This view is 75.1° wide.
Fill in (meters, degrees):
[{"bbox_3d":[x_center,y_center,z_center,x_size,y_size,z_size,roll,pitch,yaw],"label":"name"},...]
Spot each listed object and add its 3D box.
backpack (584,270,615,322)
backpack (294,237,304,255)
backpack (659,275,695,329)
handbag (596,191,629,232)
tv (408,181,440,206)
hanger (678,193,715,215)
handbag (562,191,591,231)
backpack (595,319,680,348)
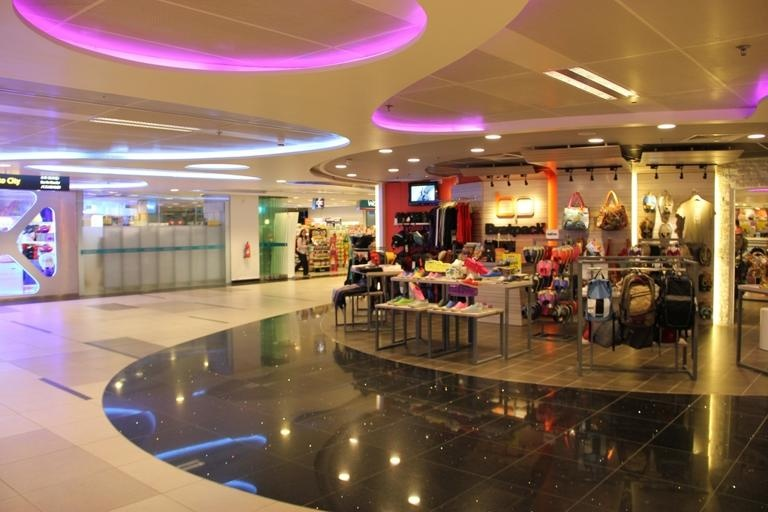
[{"bbox_3d":[3.179,0.637,7.495,0.361,0.737,0.400,-2,9,-6],"label":"backpack"},{"bbox_3d":[-3.657,-0.445,21.732,0.459,0.735,0.203,3,11,27],"label":"backpack"},{"bbox_3d":[4.166,0.688,7.125,0.447,0.762,0.357,3,10,26],"label":"backpack"},{"bbox_3d":[5.059,-0.995,11.080,0.701,0.911,0.567,-9,12,-39],"label":"handbag"},{"bbox_3d":[1.269,-1.938,15.487,0.992,0.649,0.141,1,-1,32],"label":"tv"},{"bbox_3d":[6.723,-1.104,10.728,0.585,0.343,0.119,0,-3,22],"label":"hanger"},{"bbox_3d":[4.376,-1.011,11.401,0.583,0.877,0.693,2,10,18],"label":"handbag"},{"bbox_3d":[3.730,1.197,7.535,0.868,0.308,0.631,-1,-2,33],"label":"backpack"}]
